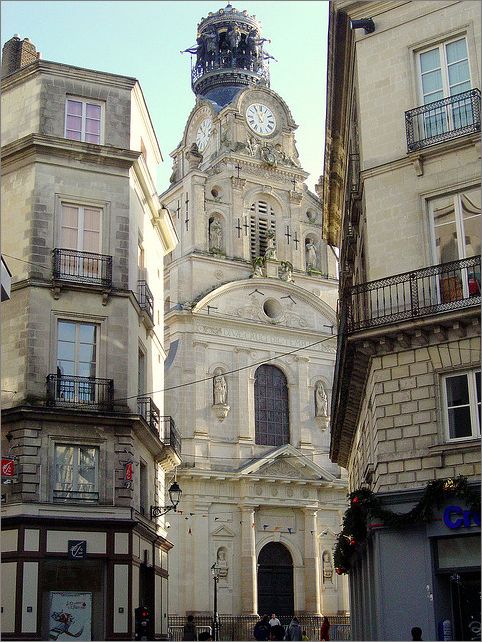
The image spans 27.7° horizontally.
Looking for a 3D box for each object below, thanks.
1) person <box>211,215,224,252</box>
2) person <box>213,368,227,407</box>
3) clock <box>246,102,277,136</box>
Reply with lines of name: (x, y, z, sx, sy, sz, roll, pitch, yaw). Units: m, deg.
person: (-1.477, -5.032, 57.026, 0.437, 2.482, 1.005, -17, -23, 42)
person: (-1.169, 3.531, 52.105, 0.668, 2.186, 0.813, 0, -17, -4)
clock: (1.166, -12.709, 61.835, 0.198, 2.067, 1.886, -26, -39, 36)
